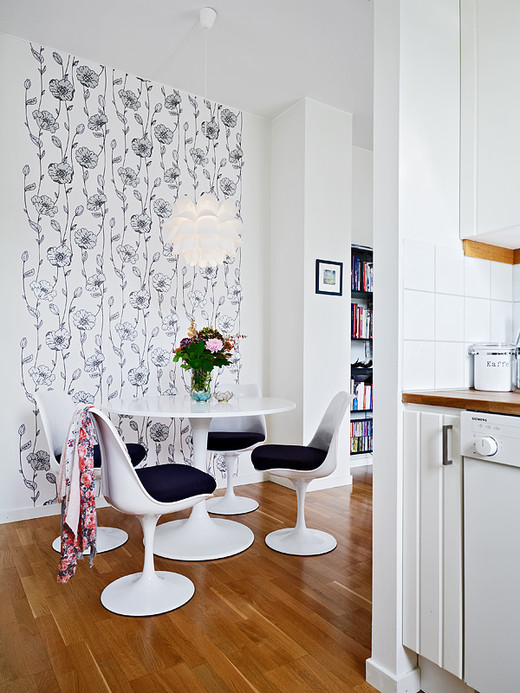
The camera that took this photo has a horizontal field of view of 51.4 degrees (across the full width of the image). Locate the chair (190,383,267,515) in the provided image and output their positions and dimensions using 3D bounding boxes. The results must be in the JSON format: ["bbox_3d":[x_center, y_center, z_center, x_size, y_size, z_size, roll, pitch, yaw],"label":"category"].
[{"bbox_3d":[-0.157,0.620,3.228,0.340,0.701,0.401,3,-2,-31],"label":"chair"}]

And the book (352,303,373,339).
[{"bbox_3d":[0.822,-0.190,4.376,0.150,0.310,0.291,0,1,-5],"label":"book"}]

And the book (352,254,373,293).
[{"bbox_3d":[0.818,-0.582,4.392,0.214,0.287,0.072,0,1,-33],"label":"book"}]

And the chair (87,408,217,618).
[{"bbox_3d":[-0.437,0.590,2.084,0.523,0.753,0.355,0,1,-44],"label":"chair"}]

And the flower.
[{"bbox_3d":[-0.299,0.071,2.789,0.260,0.331,0.292,3,-2,-13],"label":"flower"}]

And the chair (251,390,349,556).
[{"bbox_3d":[0.189,0.598,2.688,0.466,0.743,0.456,0,1,-2],"label":"chair"}]

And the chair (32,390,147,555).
[{"bbox_3d":[-0.831,0.618,3.009,0.642,1.079,0.686,-1,-2,3],"label":"chair"}]

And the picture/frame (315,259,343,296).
[{"bbox_3d":[0.473,-0.480,3.779,0.016,0.253,0.231,-4,-6,45],"label":"picture/frame"}]

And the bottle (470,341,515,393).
[{"bbox_3d":[0.745,0.066,1.731,0.119,0.150,0.196,0,1,-9],"label":"bottle"}]

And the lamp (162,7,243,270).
[{"bbox_3d":[-0.343,-1.058,2.957,0.386,1.293,0.742,0,1,-14],"label":"lamp"}]

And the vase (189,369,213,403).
[{"bbox_3d":[-0.297,0.200,2.723,0.124,0.248,0.139,0,-1,-18],"label":"vase"}]
